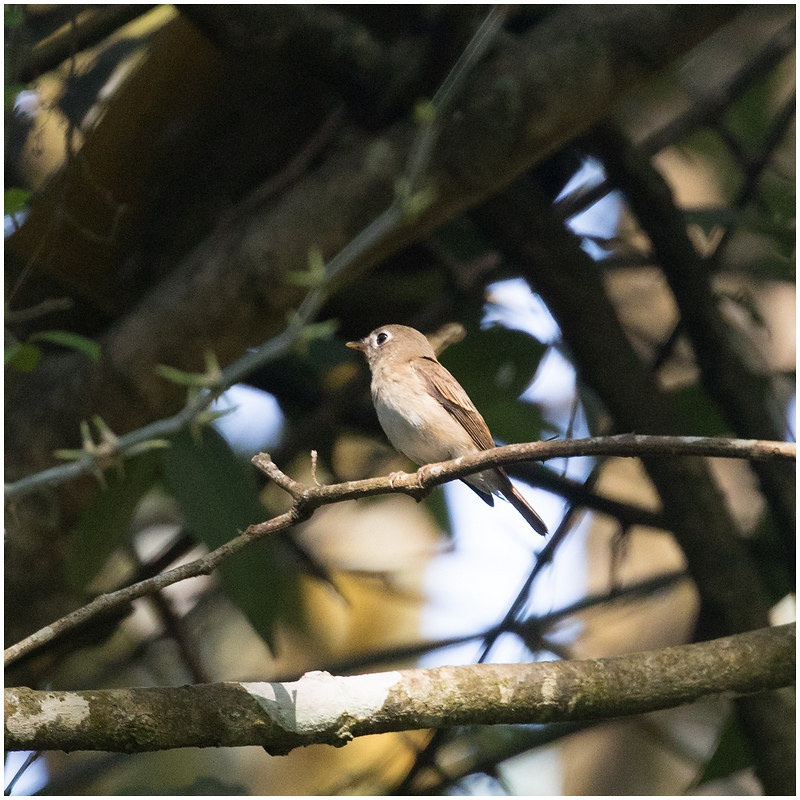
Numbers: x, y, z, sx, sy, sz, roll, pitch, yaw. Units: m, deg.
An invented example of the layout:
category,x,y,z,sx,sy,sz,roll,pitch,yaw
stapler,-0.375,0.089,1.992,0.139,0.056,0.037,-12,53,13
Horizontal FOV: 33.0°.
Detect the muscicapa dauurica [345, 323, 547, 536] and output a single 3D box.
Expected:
category,x,y,z,sx,sy,sz,roll,pitch,yaw
muscicapa dauurica,0.064,-0.007,3.798,0.290,0.434,0.379,-18,-7,1
